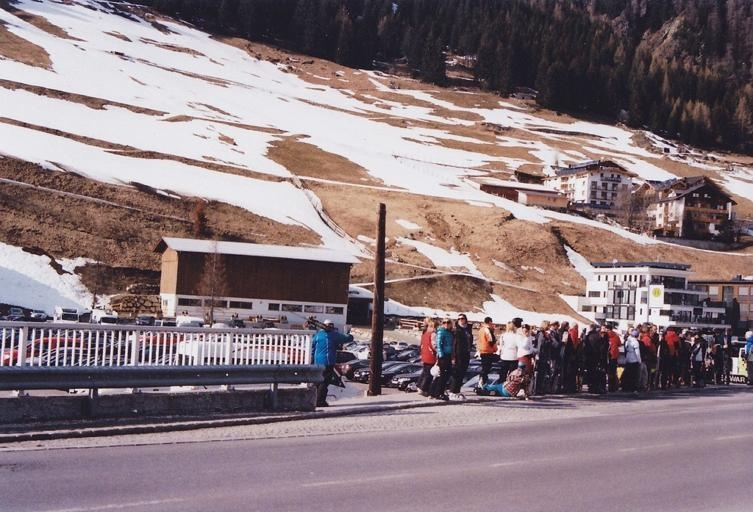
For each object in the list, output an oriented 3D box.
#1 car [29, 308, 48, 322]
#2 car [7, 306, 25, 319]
[{"bbox_3d":[-55.467,9.652,206.279,2.461,1.537,4.690,1,-5,-27],"label":"car"},{"bbox_3d":[-58.828,9.465,205.217,1.809,1.599,2.986,1,-9,-31],"label":"car"}]
